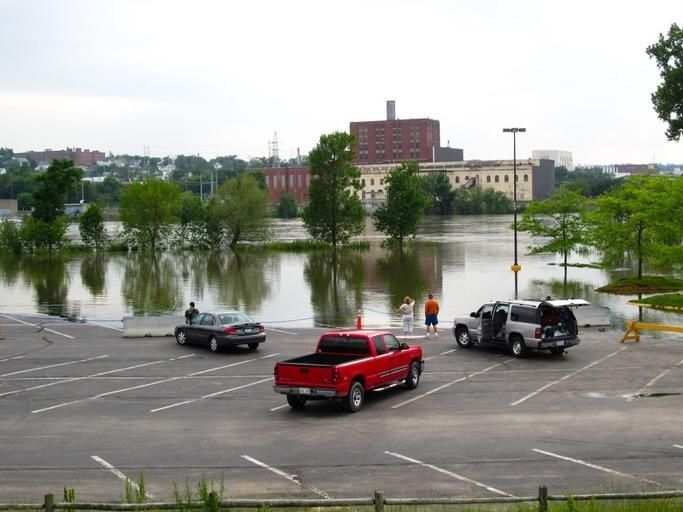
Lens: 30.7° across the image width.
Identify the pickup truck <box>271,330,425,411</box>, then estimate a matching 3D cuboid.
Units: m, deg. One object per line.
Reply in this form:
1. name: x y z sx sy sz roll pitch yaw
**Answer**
1. pickup truck: 0.304 4.308 47.481 5.841 2.779 2.063 -4 5 -38
